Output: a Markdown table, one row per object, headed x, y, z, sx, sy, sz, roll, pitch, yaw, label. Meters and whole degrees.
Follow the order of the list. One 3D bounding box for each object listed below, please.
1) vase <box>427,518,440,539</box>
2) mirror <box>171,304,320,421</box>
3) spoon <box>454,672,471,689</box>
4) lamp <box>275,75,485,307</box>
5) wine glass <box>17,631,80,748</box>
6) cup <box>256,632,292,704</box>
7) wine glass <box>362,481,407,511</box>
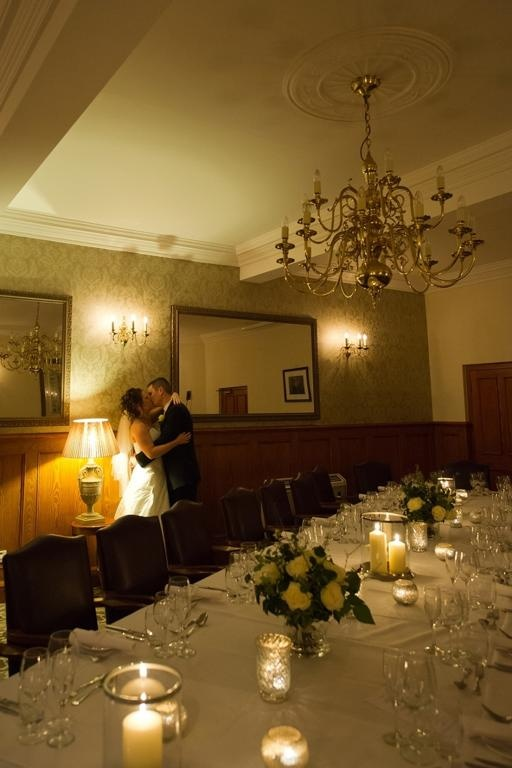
| x | y | z | sx | sy | sz | roll | pitch | yaw | label |
| --- | --- | --- | --- | --- | --- | --- | --- | --- | --- |
| 0.911 | 0.760 | 2.692 | 0.084 | 0.100 | 0.086 | 0 | -16 | -1 | vase |
| -0.158 | -0.222 | 5.477 | 1.265 | 0.806 | 0.054 | 5 | -14 | -36 | mirror |
| 0.468 | 0.675 | 1.176 | 0.016 | 0.025 | 0.043 | -10 | 22 | 36 | spoon |
| 0.670 | -1.130 | 2.851 | 0.984 | 1.137 | 0.939 | -1 | 4 | -8 | lamp |
| -0.423 | 0.606 | 1.061 | 0.101 | 0.170 | 0.263 | 1 | -4 | -20 | wine glass |
| 0.040 | 0.619 | 1.136 | 0.072 | 0.155 | 0.135 | -1 | -3 | 1 | cup |
| 0.781 | 0.698 | 3.163 | 0.194 | 0.095 | 0.279 | -1 | -9 | 4 | wine glass |
